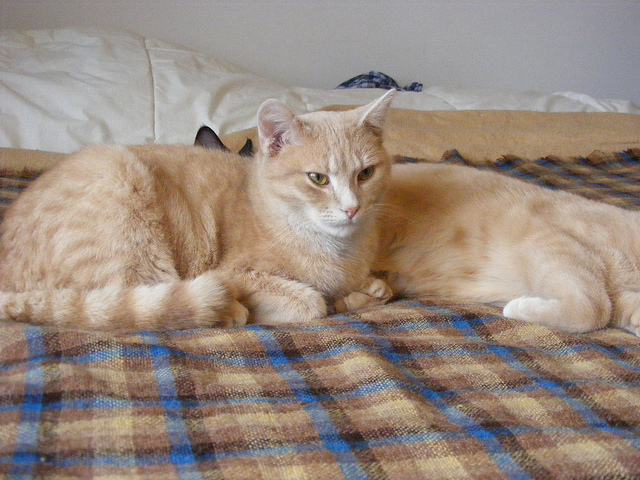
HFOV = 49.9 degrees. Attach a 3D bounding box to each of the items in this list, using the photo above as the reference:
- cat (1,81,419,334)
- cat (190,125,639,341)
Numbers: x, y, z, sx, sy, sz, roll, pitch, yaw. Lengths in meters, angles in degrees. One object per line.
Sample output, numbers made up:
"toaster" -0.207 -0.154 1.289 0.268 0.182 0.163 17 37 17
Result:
"cat" -0.491 -0.076 2.817 1.801 0.649 0.923 1 1 -10
"cat" 0.564 -0.081 3.058 1.732 0.419 0.460 25 71 24
